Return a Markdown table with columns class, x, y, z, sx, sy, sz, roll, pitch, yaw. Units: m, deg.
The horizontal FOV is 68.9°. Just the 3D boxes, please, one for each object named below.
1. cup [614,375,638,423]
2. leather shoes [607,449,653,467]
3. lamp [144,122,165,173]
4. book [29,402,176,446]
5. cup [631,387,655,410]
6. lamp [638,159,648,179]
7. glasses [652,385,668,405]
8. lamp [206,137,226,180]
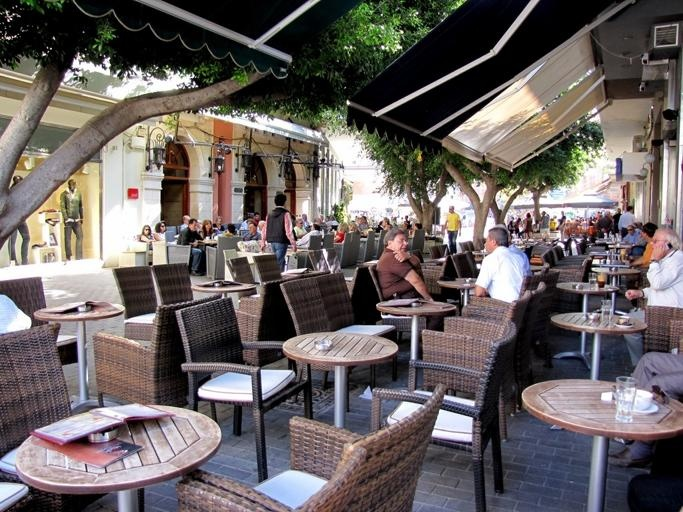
| class | x | y | z | sx | sy | sz | roll | pitch | yaw |
| --- | --- | --- | --- | --- | --- | --- | --- | --- | --- |
| cup | 1.615 | 0.814 | 2.845 | 0.109 | 0.217 | 0.206 | 0 | 3 | 29 |
| leather shoes | 2.333 | 1.669 | 4.072 | 0.336 | 0.139 | 0.123 | 3 | -1 | 24 |
| lamp | -6.462 | -3.827 | 17.379 | 0.674 | 1.697 | 1.520 | -3 | 3 | -21 |
| book | -1.239 | 0.863 | 2.591 | 0.340 | 0.072 | 0.591 | 1 | 3 | 42 |
| cup | 1.770 | 0.845 | 2.926 | 0.119 | 0.071 | 0.151 | 1 | 13 | 44 |
| lamp | 9.985 | -2.921 | 16.548 | 0.172 | 0.447 | 0.169 | -3 | -1 | -5 |
| glasses | 1.956 | 0.845 | 3.088 | 0.054 | 0.058 | 0.153 | -4 | 31 | 1 |
| lamp | -4.963 | -4.068 | 19.926 | 0.706 | 1.896 | 3.903 | -2 | 2 | -14 |
